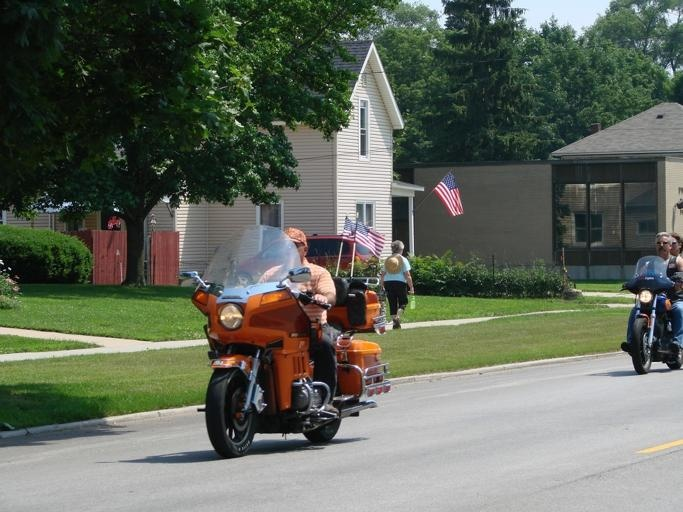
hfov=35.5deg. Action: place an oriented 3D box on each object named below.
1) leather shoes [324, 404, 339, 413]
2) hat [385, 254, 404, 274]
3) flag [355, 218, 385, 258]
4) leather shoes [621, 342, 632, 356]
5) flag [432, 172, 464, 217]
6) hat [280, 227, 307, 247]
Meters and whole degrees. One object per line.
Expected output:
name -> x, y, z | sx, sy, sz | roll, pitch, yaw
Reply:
leather shoes -> -0.160, 1.906, 13.355 | 0.110, 0.055, 0.153 | 2, 0, 36
hat -> 1.318, 0.186, 26.343 | 0.448, 0.460, 0.124 | 1, 0, 18
flag -> 0.754, -0.519, 29.295 | 0.342, 0.705, 1.317 | -8, 36, -11
leather shoes -> 5.021, 1.618, 18.775 | 0.170, 0.212, 0.259 | 0, -2, 14
flag -> 3.827, -2.267, 37.799 | 0.931, 2.556, 0.234 | -6, -43, -18
hat -> -0.616, -0.261, 13.666 | 0.301, 0.239, 0.450 | -4, -3, 10
